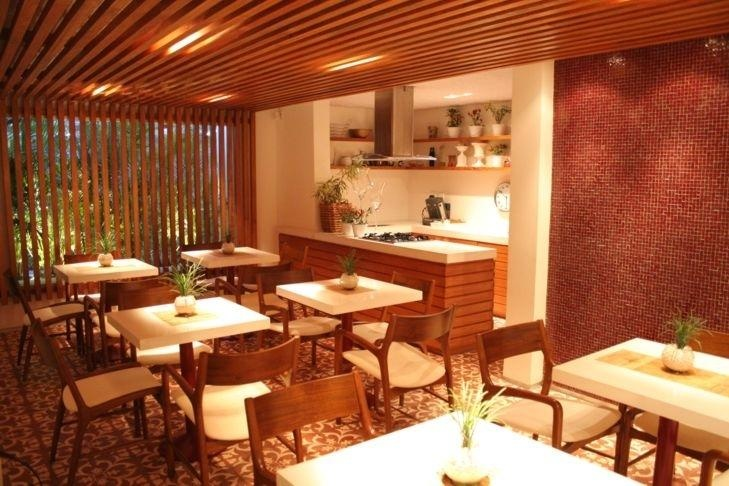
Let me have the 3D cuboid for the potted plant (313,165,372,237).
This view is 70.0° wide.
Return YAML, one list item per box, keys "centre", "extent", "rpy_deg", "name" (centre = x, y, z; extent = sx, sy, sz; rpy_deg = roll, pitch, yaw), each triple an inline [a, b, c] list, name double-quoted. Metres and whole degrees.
- centre: [-0.205, -0.803, 9.019]
  extent: [1.387, 1.271, 1.188]
  rpy_deg: [-4, 9, -26]
  name: "potted plant"

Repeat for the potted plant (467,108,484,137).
- centre: [1.992, -2.175, 9.389]
  extent: [0.255, 0.526, 0.554]
  rpy_deg: [0, 12, 11]
  name: "potted plant"

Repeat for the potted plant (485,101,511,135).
- centre: [2.322, -2.153, 9.018]
  extent: [0.361, 0.563, 0.628]
  rpy_deg: [-1, 12, 8]
  name: "potted plant"

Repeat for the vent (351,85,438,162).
- centre: [0.390, -1.841, 8.149]
  extent: [1.021, 0.963, 1.079]
  rpy_deg: [-4, 12, -25]
  name: "vent"

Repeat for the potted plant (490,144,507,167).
- centre: [2.318, -1.525, 9.027]
  extent: [0.333, 0.366, 0.442]
  rpy_deg: [-1, 12, 7]
  name: "potted plant"

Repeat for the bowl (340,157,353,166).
- centre: [-0.336, -1.534, 9.634]
  extent: [0.305, 0.193, 0.285]
  rpy_deg: [1, 9, 0]
  name: "bowl"

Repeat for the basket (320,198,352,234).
- centre: [-0.443, -0.452, 8.317]
  extent: [0.543, 0.425, 0.533]
  rpy_deg: [0, 5, -4]
  name: "basket"

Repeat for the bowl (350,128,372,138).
- centre: [-0.056, -2.097, 9.950]
  extent: [0.281, 0.088, 0.269]
  rpy_deg: [-1, 8, 0]
  name: "bowl"

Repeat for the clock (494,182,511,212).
- centre: [2.393, -0.815, 9.052]
  extent: [0.129, 0.536, 0.336]
  rpy_deg: [-8, 13, -22]
  name: "clock"

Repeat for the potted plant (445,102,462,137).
- centre: [1.673, -2.273, 9.738]
  extent: [0.290, 0.580, 0.478]
  rpy_deg: [1, 12, 17]
  name: "potted plant"

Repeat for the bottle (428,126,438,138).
- centre: [1.337, -2.164, 10.150]
  extent: [0.248, 0.239, 0.228]
  rpy_deg: [-1, 6, -5]
  name: "bottle"

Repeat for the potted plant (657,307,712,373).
- centre: [2.512, 0.747, 4.053]
  extent: [0.399, 0.533, 0.398]
  rpy_deg: [-5, 6, -42]
  name: "potted plant"
